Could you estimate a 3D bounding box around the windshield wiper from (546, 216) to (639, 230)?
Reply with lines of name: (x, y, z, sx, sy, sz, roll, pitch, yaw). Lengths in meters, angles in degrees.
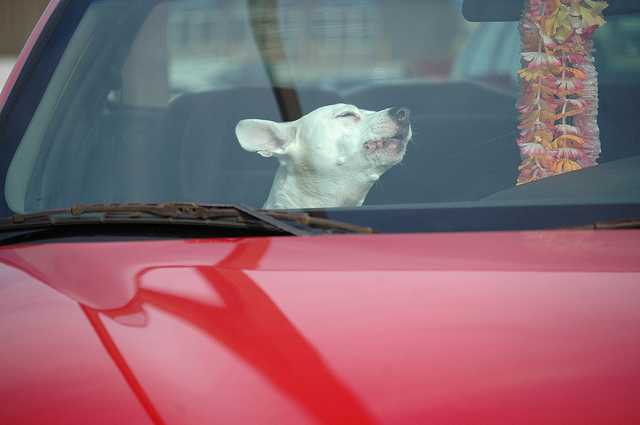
windshield wiper: (0.801, 0.033, 2.751, 0.181, 0.022, 0.021, -4, 44, 8)
